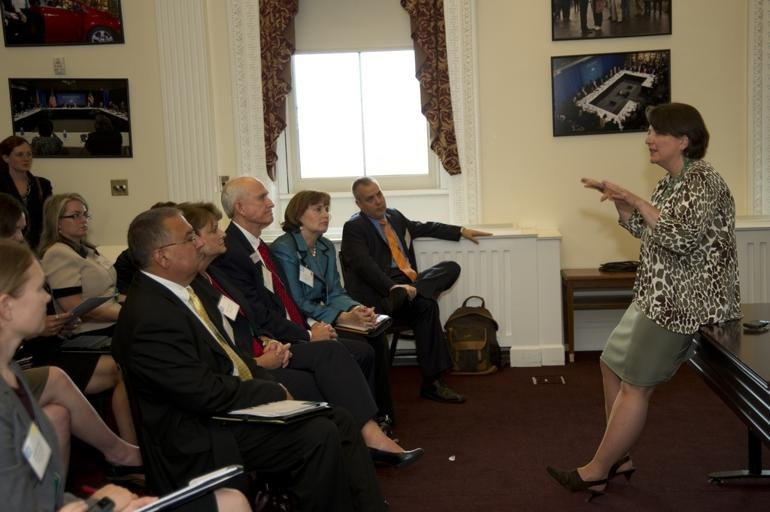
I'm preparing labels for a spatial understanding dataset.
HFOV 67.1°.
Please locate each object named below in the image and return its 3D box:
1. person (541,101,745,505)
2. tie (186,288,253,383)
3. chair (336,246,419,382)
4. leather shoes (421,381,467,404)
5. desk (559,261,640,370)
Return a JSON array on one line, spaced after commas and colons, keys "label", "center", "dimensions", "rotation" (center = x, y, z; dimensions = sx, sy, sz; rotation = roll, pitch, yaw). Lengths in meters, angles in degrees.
[{"label": "person", "center": [1.581, 0.265, 3.351], "dimensions": [0.877, 2.245, 0.482], "rotation": [1, 10, 15]}, {"label": "tie", "center": [-0.884, 0.438, 3.147], "dimensions": [0.161, 0.092, 1.050], "rotation": [30, 3, -27]}, {"label": "chair", "center": [0.023, 0.419, 4.839], "dimensions": [0.635, 1.077, 0.592], "rotation": [-6, 10, 16]}, {"label": "leather shoes", "center": [0.488, 1.118, 4.813], "dimensions": [0.360, 0.175, 0.143], "rotation": [-3, -1, 37]}, {"label": "desk", "center": [2.117, 0.515, 5.609], "dimensions": [0.758, 0.744, 0.606], "rotation": [-2, 4, 17]}]
